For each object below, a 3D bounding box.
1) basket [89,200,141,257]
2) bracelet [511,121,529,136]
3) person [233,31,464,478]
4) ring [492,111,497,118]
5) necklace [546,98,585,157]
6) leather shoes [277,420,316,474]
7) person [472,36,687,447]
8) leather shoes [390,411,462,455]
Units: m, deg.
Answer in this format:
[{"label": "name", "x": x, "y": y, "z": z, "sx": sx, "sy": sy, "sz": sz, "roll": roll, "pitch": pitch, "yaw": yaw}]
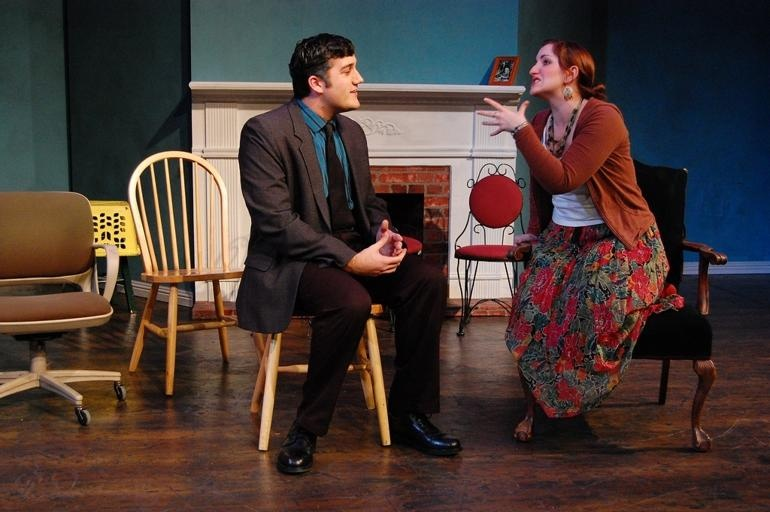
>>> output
[{"label": "basket", "x": -2.173, "y": -0.247, "z": 5.550, "sx": 0.447, "sy": 0.466, "sz": 0.396, "roll": 1, "pitch": 14, "yaw": 17}, {"label": "bracelet", "x": 0.606, "y": -0.557, "z": 2.977, "sx": 0.067, "sy": 0.029, "sz": 0.060, "roll": -41, "pitch": -6, "yaw": 12}, {"label": "person", "x": -0.196, "y": -0.060, "z": 3.019, "sx": 0.962, "sy": 1.835, "sz": 0.702, "roll": -2, "pitch": 12, "yaw": -11}, {"label": "ring", "x": 0.495, "y": -0.624, "z": 2.972, "sx": 0.028, "sy": 0.026, "sz": 0.074, "roll": 3, "pitch": 13, "yaw": 15}, {"label": "necklace", "x": 0.858, "y": -0.597, "z": 3.153, "sx": 0.172, "sy": 0.252, "sz": 0.072, "roll": 14, "pitch": 13, "yaw": 40}, {"label": "leather shoes", "x": -0.378, "y": 0.849, "z": 2.949, "sx": 0.143, "sy": 0.166, "sz": 0.393, "roll": 9, "pitch": -4, "yaw": 0}, {"label": "person", "x": 0.897, "y": -0.057, "z": 3.043, "sx": 0.792, "sy": 1.791, "sz": 0.545, "roll": 5, "pitch": 13, "yaw": 25}, {"label": "leather shoes", "x": 0.171, "y": 0.801, "z": 3.054, "sx": 0.370, "sy": 0.166, "sz": 0.140, "roll": 3, "pitch": 0, "yaw": 38}]
